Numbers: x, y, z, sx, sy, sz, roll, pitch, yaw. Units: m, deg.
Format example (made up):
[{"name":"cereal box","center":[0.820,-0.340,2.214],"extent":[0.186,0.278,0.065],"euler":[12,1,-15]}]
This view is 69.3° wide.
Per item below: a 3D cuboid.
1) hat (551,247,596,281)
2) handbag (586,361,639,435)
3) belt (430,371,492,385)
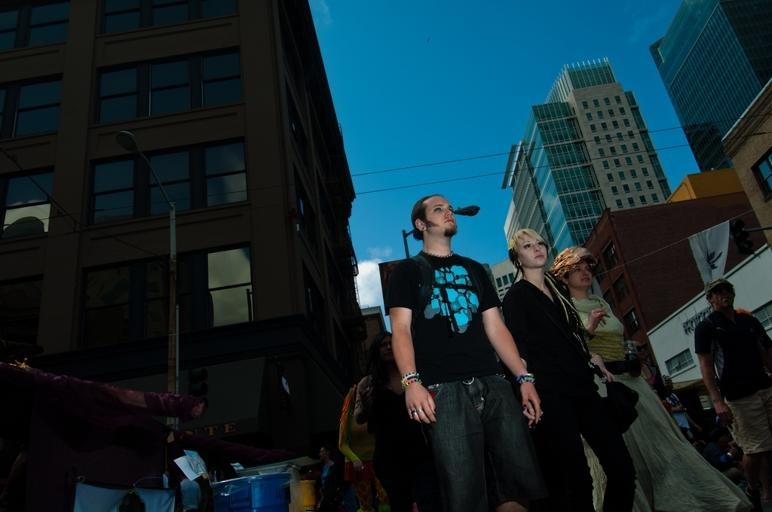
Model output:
[{"name":"hat","center":[2.672,0.019,7.686],"extent":[0.398,0.386,0.227],"euler":[-39,-22,29]},{"name":"handbag","center":[2.802,1.734,7.073],"extent":[0.272,0.847,0.522],"euler":[-30,-4,23]},{"name":"belt","center":[0.759,1.228,5.689],"extent":[0.693,0.098,0.063],"euler":[-6,-21,-9]}]
